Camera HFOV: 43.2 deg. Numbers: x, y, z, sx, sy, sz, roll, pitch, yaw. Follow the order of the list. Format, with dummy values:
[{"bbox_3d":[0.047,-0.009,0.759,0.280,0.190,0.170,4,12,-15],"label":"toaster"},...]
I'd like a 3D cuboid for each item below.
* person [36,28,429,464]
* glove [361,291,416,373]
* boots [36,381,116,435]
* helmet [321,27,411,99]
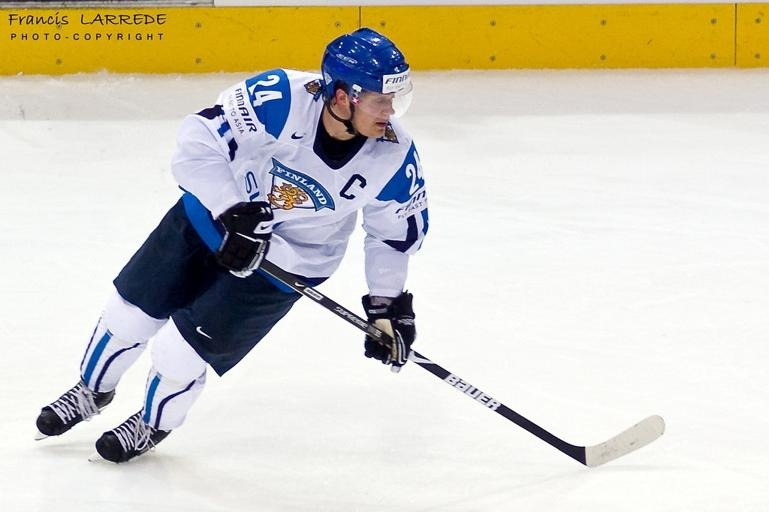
[{"bbox_3d":[-0.574,-0.039,4.195,1.503,1.916,0.422,4,18,-12],"label":"person"},{"bbox_3d":[0.000,0.413,4.329,0.105,0.271,0.215,21,8,-43],"label":"glove"},{"bbox_3d":[-1.401,0.688,4.402,0.387,0.156,0.149,-34,73,-24],"label":"boots"},{"bbox_3d":[-0.087,-0.822,4.073,0.358,0.315,0.255,6,21,11],"label":"helmet"}]
